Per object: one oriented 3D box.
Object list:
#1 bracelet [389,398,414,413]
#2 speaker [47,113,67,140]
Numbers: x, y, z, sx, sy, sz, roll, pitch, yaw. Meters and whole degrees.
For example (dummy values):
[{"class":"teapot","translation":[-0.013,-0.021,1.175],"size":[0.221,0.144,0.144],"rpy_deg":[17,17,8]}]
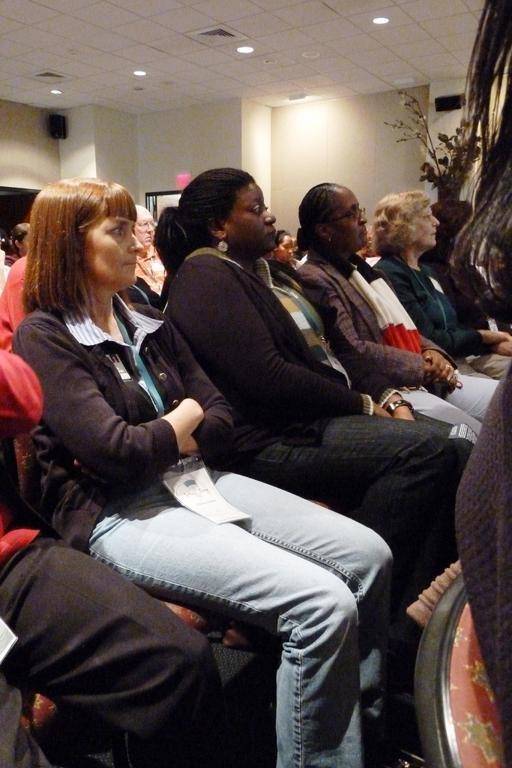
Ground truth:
[{"class":"bracelet","translation":[0.532,0.076,2.081],"size":[0.078,0.072,0.050],"rpy_deg":[-8,49,35]},{"class":"speaker","translation":[-3.502,-4.560,9.960],"size":[0.263,0.452,0.248],"rpy_deg":[7,15,32]}]
